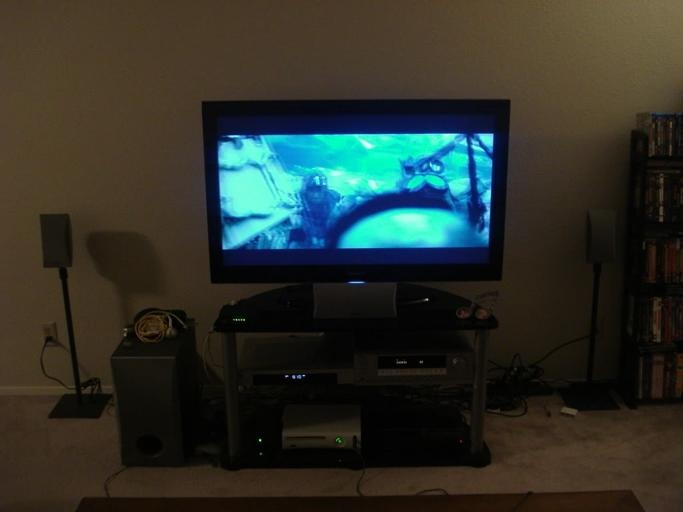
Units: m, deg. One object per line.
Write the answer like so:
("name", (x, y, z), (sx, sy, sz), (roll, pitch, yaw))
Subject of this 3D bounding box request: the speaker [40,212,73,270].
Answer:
("speaker", (-1.672, -0.084, 3.955), (0.167, 0.322, 0.084), (-4, 7, -10))

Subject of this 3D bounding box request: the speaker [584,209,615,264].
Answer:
("speaker", (1.549, -0.121, 4.025), (0.162, 0.310, 0.130), (-1, 7, 17))

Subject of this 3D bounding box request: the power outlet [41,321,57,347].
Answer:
("power outlet", (-1.839, 0.490, 4.211), (0.097, 0.133, 0.036), (3, 6, 0))

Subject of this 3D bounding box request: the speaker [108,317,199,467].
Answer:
("speaker", (-1.007, 0.752, 3.650), (0.396, 0.632, 0.745), (-1, 6, -4))
